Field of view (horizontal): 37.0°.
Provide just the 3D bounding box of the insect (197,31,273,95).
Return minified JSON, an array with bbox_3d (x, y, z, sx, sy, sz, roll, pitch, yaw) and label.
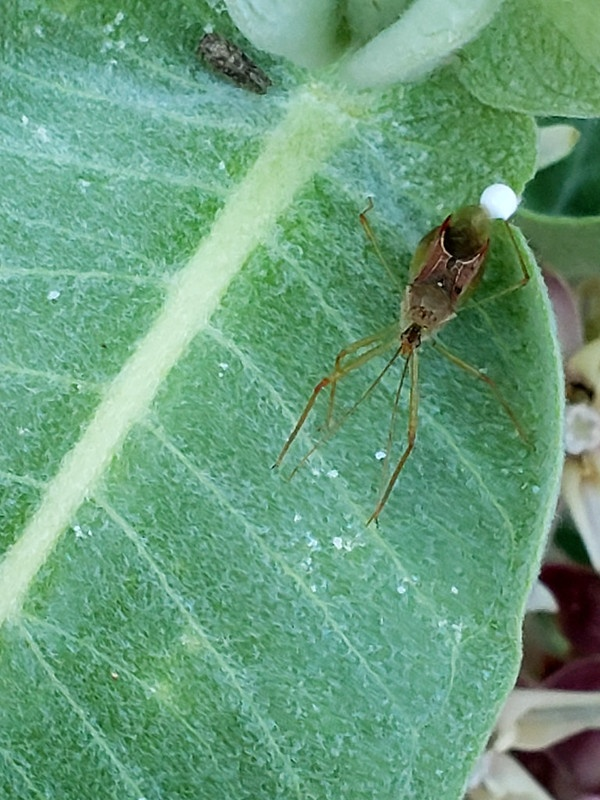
[{"bbox_3d":[-0.154,-0.778,2.091,0.181,0.081,0.058,35,5,-25],"label":"insect"}]
